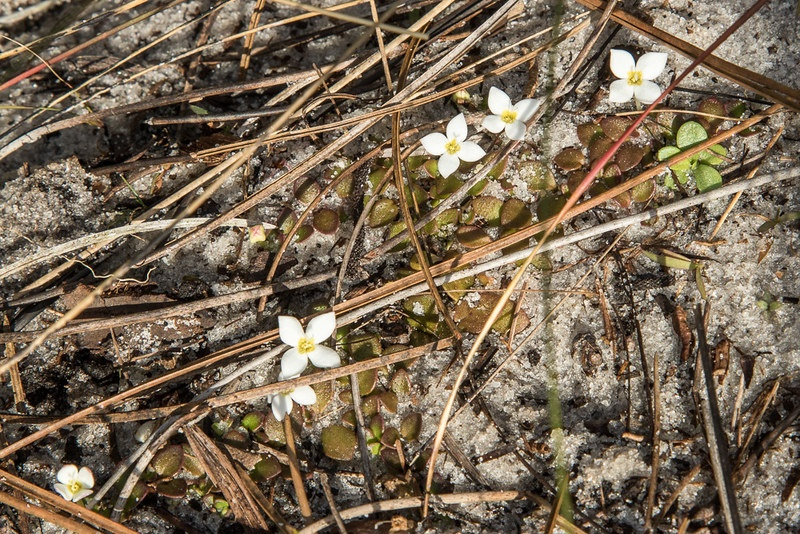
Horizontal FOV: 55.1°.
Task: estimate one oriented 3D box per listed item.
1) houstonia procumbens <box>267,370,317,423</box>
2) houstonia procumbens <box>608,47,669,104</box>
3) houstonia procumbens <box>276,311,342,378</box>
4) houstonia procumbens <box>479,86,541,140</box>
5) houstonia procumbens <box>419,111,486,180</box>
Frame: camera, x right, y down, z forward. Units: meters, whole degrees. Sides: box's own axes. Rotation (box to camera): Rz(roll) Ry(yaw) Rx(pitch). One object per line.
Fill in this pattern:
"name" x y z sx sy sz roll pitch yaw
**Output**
"houstonia procumbens" -0.590 0.726 4.190 0.248 0.189 0.329 16 -47 8
"houstonia procumbens" 1.317 -1.067 4.282 0.273 0.135 0.353 8 -91 8
"houstonia procumbens" -0.482 0.426 4.115 0.307 0.300 0.376 5 -49 17
"houstonia procumbens" 0.597 -0.863 4.360 0.296 0.100 0.388 18 -17 -9
"houstonia procumbens" 0.288 -0.672 4.243 0.327 0.090 0.362 11 -83 -5
